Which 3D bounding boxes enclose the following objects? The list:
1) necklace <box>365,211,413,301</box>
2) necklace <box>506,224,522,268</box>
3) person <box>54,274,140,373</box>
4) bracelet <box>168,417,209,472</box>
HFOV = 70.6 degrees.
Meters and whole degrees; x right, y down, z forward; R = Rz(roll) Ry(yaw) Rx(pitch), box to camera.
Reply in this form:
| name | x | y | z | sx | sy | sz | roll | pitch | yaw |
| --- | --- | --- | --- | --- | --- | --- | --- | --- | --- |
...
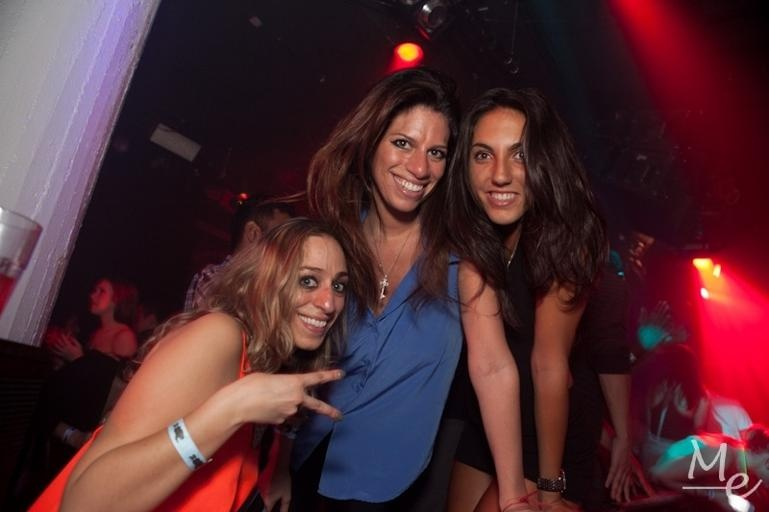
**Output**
| name | x | y | z | sx | sy | sz | roll | pitch | yaw |
| --- | --- | --- | --- | --- | --- | --- | --- | --- | --- |
| necklace | 0.030 | -0.043 | 3.991 | 0.197 | 0.852 | 0.032 | 12 | -40 | -7 |
| necklace | 0.942 | -0.079 | 3.947 | 0.046 | 0.251 | 0.204 | 14 | 16 | 17 |
| person | -3.097 | 0.692 | 5.744 | 0.648 | 1.029 | 0.881 | -9 | -18 | 26 |
| bracelet | -1.025 | 1.013 | 2.921 | 0.230 | 0.055 | 0.231 | 43 | -34 | 30 |
